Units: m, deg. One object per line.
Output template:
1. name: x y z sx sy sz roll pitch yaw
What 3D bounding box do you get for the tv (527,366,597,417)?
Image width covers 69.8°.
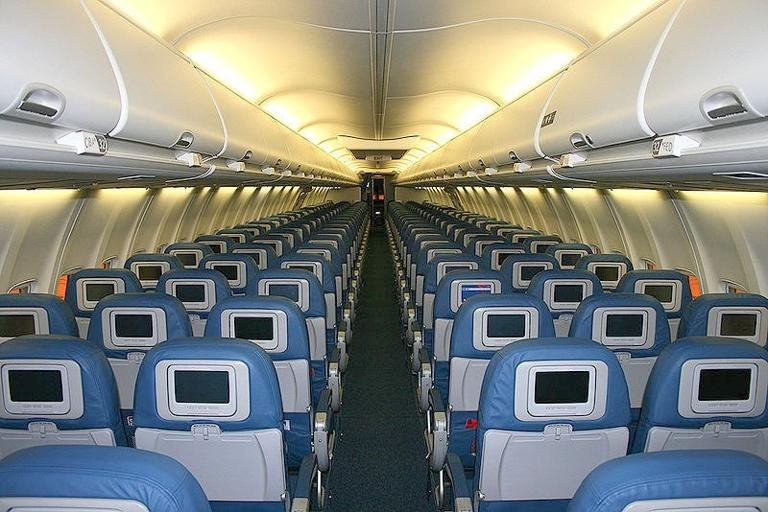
1. tv: 1.141 0.850 3.545 0.387 0.248 0.047 -1 11 1

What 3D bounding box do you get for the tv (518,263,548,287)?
1. tv: 1.798 0.217 6.682 0.371 0.253 0.054 0 2 0

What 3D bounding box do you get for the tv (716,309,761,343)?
1. tv: 2.984 0.578 4.635 0.339 0.244 0.160 0 6 6

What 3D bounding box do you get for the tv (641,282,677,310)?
1. tv: 2.758 0.382 5.540 0.333 0.239 0.153 0 15 2

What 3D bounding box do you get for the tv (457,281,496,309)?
1. tv: 0.846 0.367 5.203 0.350 0.202 0.033 -1 2 -12

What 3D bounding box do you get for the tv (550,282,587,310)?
1. tv: 1.955 0.408 5.856 0.366 0.215 0.043 -1 16 -2

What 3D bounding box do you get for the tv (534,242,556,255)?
1. tv: 2.536 -0.129 8.714 0.266 0.225 0.025 1 -2 -6

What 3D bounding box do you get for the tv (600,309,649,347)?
1. tv: 2.017 0.591 4.661 0.372 0.264 0.173 1 9 1

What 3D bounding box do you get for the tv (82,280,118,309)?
1. tv: -2.852 0.364 5.526 0.340 0.257 0.156 1 9 -9

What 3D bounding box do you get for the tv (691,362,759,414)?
1. tv: 2.202 0.842 3.589 0.410 0.291 0.188 0 7 0

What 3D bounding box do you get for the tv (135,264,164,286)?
1. tv: -2.920 0.215 6.866 0.325 0.223 0.150 1 3 -8
